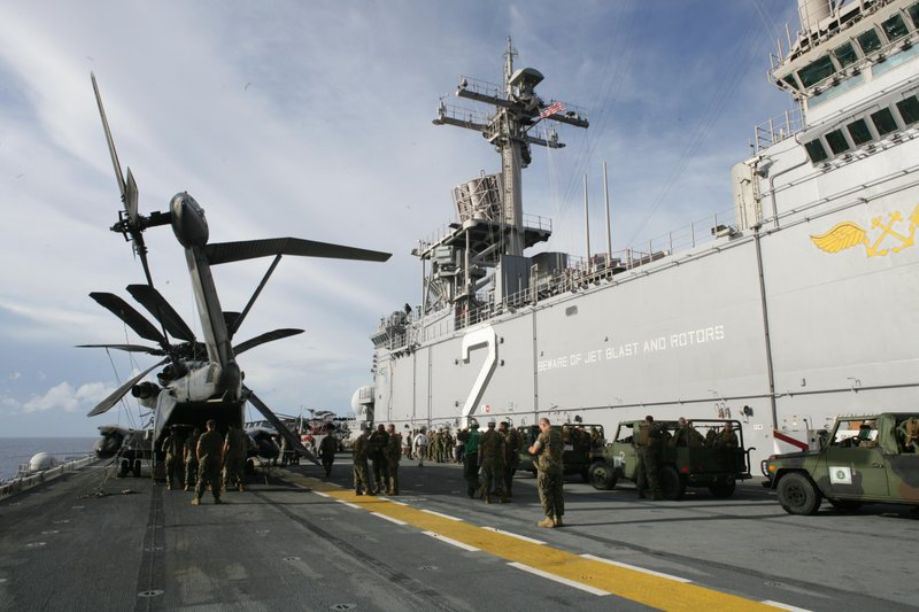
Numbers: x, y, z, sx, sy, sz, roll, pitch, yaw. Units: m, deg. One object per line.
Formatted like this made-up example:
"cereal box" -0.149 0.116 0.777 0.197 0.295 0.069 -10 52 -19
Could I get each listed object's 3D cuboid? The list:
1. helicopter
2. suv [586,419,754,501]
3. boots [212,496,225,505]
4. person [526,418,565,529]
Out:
"helicopter" -6.963 2.226 20.071 10.630 7.647 11.745 0 -8 -13
"suv" 5.782 4.121 20.140 2.332 2.004 3.876 7 -10 -33
"boots" -6.223 4.994 18.128 0.138 0.234 0.312 2 -2 7
"person" 2.066 3.706 15.880 0.867 2.254 0.833 2 -5 -28
